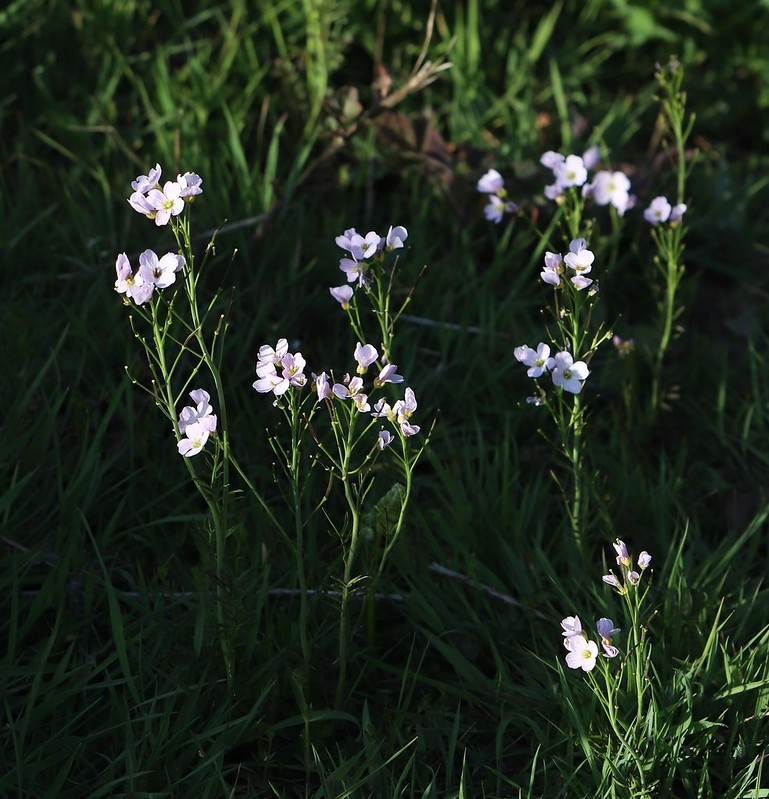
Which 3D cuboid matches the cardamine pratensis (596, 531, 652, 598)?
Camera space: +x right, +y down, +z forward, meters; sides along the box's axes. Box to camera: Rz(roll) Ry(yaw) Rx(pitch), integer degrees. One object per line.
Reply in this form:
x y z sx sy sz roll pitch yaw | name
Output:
0.473 0.325 1.959 0.067 0.141 0.084 11 32 24 | cardamine pratensis
